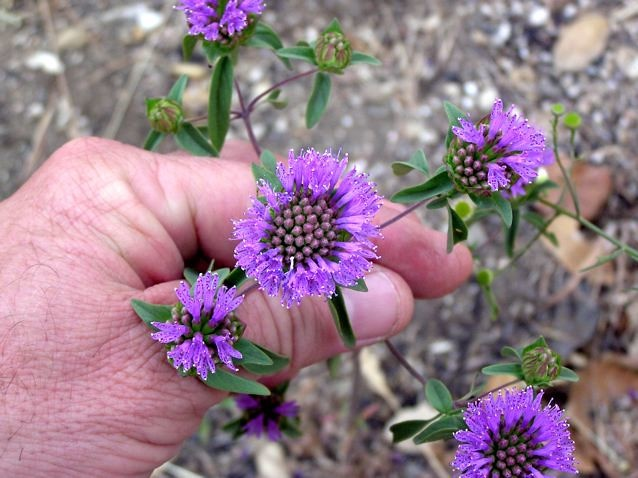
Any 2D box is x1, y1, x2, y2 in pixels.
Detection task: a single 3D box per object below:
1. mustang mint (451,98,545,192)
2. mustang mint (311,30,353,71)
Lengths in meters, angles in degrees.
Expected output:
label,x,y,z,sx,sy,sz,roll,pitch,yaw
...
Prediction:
label,x,y,z,sx,sy,sz,roll,pitch,yaw
mustang mint,0.943,-0.517,3.365,0.388,0.371,0.447,14,21,7
mustang mint,0.079,-1.012,3.346,0.163,0.229,0.190,7,25,-2
